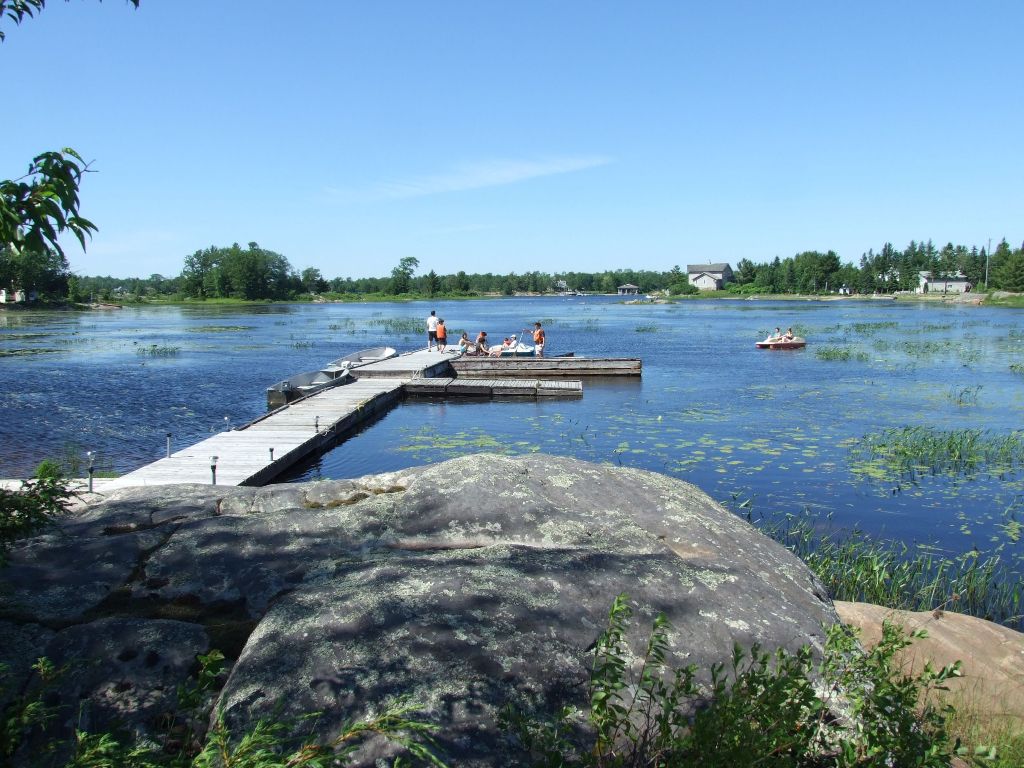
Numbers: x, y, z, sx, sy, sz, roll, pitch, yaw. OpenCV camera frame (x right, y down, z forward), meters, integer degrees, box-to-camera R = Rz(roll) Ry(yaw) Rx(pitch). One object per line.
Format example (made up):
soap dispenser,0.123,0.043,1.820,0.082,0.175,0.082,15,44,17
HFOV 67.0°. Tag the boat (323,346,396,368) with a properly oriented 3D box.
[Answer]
boat,-6.335,-1.107,31.771,1.049,0.593,4.286,26,13,10

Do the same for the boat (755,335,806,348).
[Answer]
boat,14.217,-2.157,40.640,1.858,0.557,1.132,-3,9,1

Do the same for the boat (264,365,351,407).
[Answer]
boat,-6.568,0.033,24.963,1.041,0.809,4.031,7,12,7

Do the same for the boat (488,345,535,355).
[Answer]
boat,-0.014,-1.461,34.137,1.420,0.304,0.732,-1,3,-2
